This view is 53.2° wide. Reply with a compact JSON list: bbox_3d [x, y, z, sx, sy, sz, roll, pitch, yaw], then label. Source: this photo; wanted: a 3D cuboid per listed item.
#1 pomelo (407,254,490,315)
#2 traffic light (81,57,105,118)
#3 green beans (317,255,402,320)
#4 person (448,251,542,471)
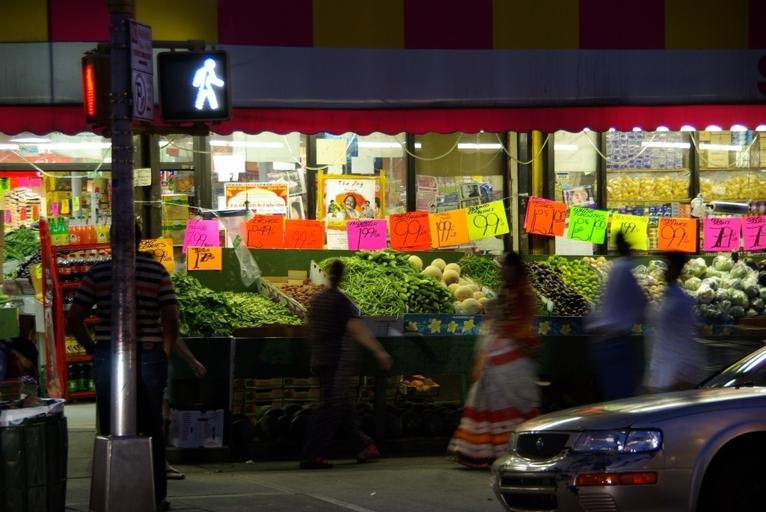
[{"bbox_3d":[1.026,0.437,11.028,1.089,0.990,0.755,1,0,13],"label":"pomelo"},{"bbox_3d":[-2.912,-1.682,7.719,0.319,0.667,0.104,0,2,42],"label":"traffic light"},{"bbox_3d":[-0.161,0.450,10.391,0.707,0.314,0.977,1,27,-21],"label":"green beans"},{"bbox_3d":[1.306,1.296,8.950,0.755,2.314,1.023,-1,-5,10],"label":"person"}]
